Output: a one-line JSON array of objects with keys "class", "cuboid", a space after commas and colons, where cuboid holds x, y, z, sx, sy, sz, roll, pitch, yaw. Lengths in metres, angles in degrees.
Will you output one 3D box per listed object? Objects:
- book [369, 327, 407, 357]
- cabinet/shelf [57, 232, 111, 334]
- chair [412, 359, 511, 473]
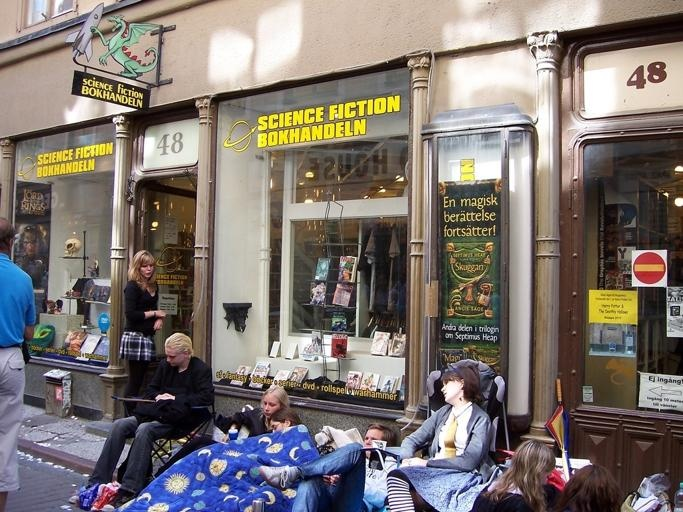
[{"class": "book", "cuboid": [0.539, 0.983, 7.025, 0.350, 0.222, 0.099, -2, -14, 41]}, {"class": "cabinet/shelf", "cuboid": [-3.919, 0.469, 9.514, 1.275, 1.520, 0.462, 5, 11, 36]}, {"class": "chair", "cuboid": [1.161, 1.418, 5.727, 0.678, 0.827, 0.581, 1, -1, 17]}]
